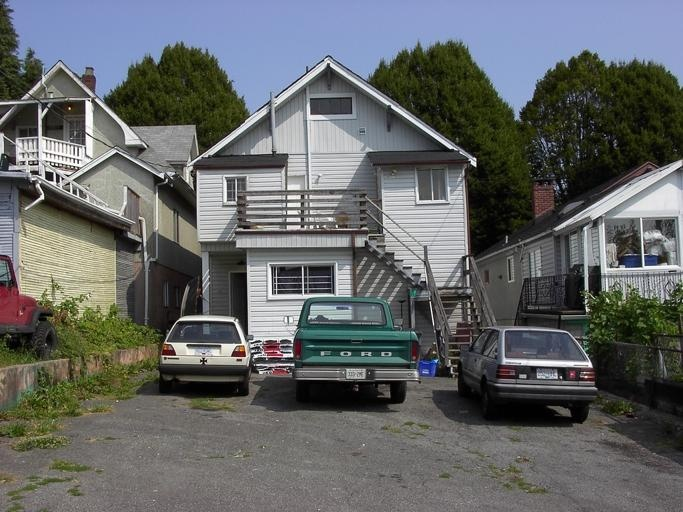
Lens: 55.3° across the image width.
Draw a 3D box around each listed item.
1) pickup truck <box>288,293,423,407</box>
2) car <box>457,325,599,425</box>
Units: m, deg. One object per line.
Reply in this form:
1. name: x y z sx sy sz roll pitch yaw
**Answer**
1. pickup truck: 0.062 1.587 14.543 3.630 1.836 1.904 26 -16 -31
2. car: 3.807 2.462 14.127 1.454 1.300 2.829 0 -3 -1
